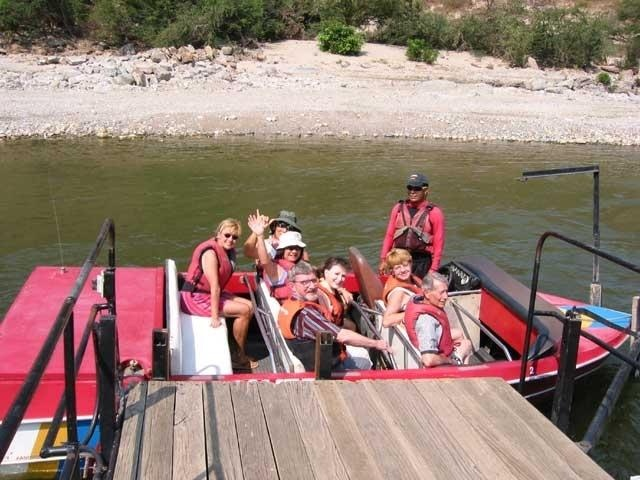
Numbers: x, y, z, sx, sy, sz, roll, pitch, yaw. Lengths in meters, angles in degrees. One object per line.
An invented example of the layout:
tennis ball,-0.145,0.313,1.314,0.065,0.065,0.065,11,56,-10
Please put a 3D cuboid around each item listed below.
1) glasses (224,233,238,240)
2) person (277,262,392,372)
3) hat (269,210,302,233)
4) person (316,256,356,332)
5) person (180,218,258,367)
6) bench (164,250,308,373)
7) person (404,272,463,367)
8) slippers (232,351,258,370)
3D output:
glasses,-0.903,-0.037,6.599,0.144,0.076,0.050,-6,17,-14
person,0.057,0.770,6.033,0.870,1.105,0.799,-7,17,-18
hat,-0.412,-0.232,7.619,0.331,0.202,0.363,13,-1,-5
person,0.154,0.548,6.511,0.437,0.810,0.403,-1,34,8
person,-1.017,0.547,6.811,0.839,1.529,0.822,9,14,15
bench,-0.862,0.813,6.043,0.896,0.606,1.360,4,47,-15
person,1.023,0.768,6.038,0.478,0.926,0.700,10,20,34
slippers,-0.796,1.215,6.837,0.295,0.222,0.129,-4,26,-14
